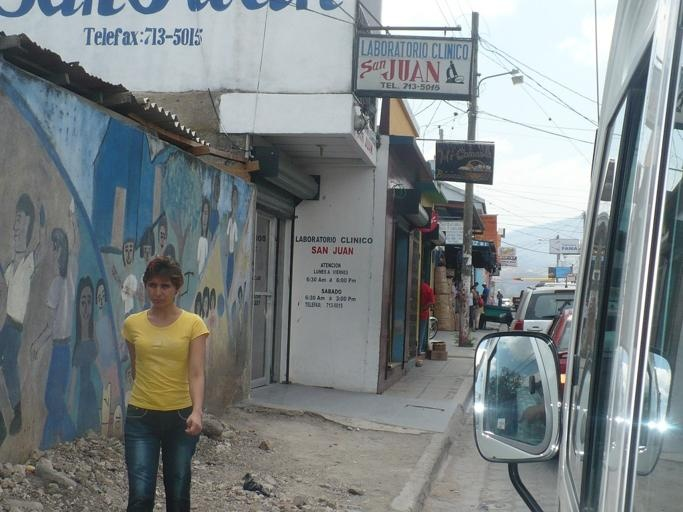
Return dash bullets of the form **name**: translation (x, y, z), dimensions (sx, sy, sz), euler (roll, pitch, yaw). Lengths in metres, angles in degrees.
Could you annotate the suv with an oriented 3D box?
- **suv**: translation (3.551, 1.293, 11.460), dimensions (1.218, 1.344, 2.390), euler (2, 4, 8)
